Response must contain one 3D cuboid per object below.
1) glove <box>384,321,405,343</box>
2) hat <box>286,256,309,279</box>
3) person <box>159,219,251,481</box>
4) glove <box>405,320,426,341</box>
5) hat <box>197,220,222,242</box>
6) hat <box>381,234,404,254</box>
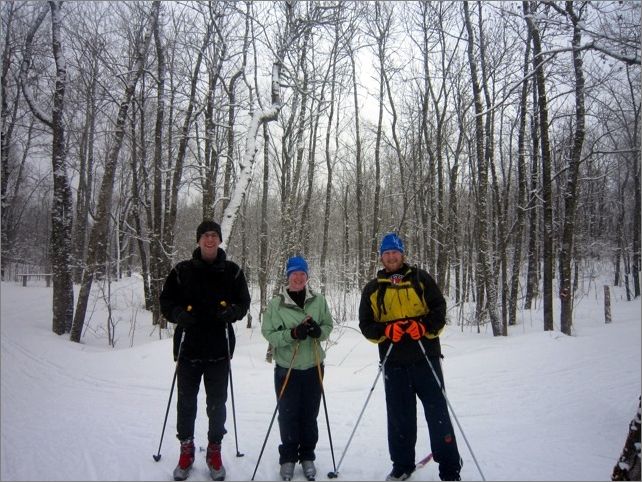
[{"bbox_3d":[1.296,1.635,10.002,0.266,0.408,0.382,23,-23,-6],"label":"glove"},{"bbox_3d":[-0.456,0.486,10.412,0.324,0.381,0.379,6,-3,-22],"label":"hat"},{"bbox_3d":[-2.122,1.954,10.124,1.453,4.662,0.521,1,-5,-18],"label":"person"},{"bbox_3d":[1.670,1.574,9.809,0.346,0.130,0.268,-4,-36,44],"label":"glove"},{"bbox_3d":[-2.104,-0.184,10.357,0.352,0.323,0.388,2,-14,-15],"label":"hat"},{"bbox_3d":[1.294,0.069,10.356,0.330,0.396,0.381,12,-11,-17],"label":"hat"}]
